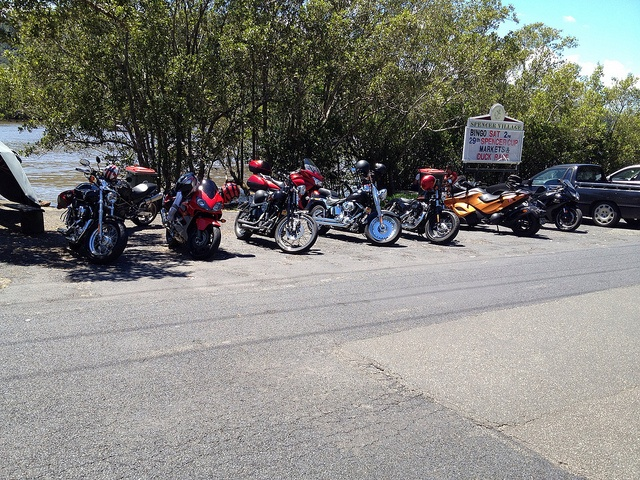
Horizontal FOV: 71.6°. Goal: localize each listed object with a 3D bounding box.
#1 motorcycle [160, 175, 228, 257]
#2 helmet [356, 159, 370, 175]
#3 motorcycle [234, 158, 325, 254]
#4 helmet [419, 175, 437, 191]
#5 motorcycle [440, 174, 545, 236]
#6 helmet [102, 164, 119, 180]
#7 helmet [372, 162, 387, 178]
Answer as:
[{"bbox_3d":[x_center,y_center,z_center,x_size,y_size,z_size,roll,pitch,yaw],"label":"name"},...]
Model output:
[{"bbox_3d":[-2.574,-0.516,9.358,0.781,1.402,2.021,10,2,-31],"label":"motorcycle"},{"bbox_3d":[1.063,-1.802,10.934,0.311,0.419,0.337,0,-13,12],"label":"helmet"},{"bbox_3d":[-0.737,-0.557,10.401,1.193,1.669,2.323,10,3,-42],"label":"motorcycle"},{"bbox_3d":[2.834,-1.505,11.740,0.378,0.405,0.307,26,-1,-42],"label":"helmet"},{"bbox_3d":[5.324,-0.944,13.430,3.237,1.941,1.527,11,8,28],"label":"motorcycle"},{"bbox_3d":[-4.161,-1.308,8.841,0.232,0.338,0.314,12,-4,3],"label":"helmet"},{"bbox_3d":[1.472,-1.750,10.973,0.258,0.338,0.362,8,31,-17],"label":"helmet"}]
